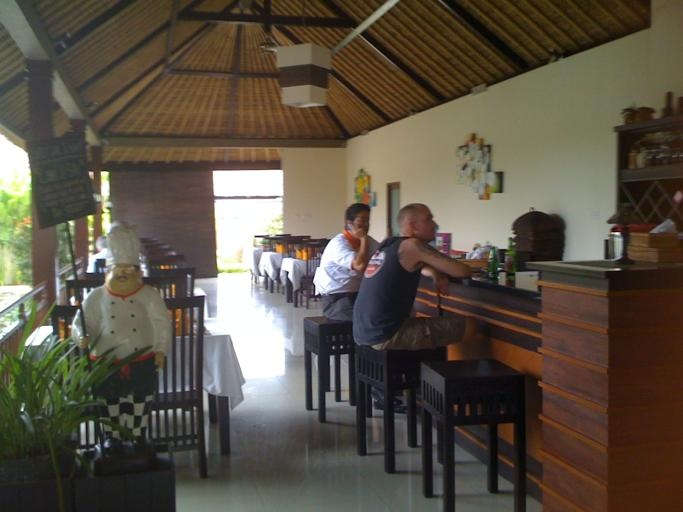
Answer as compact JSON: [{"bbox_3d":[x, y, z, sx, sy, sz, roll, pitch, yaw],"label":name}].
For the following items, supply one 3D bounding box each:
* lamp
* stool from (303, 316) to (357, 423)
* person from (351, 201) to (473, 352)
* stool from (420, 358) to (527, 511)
[{"bbox_3d":[-0.349,-1.724,5.391,0.496,0.606,0.370,-1,6,-3],"label":"lamp"},{"bbox_3d":[-0.026,0.823,4.289,0.435,0.678,0.418,0,-3,-26],"label":"stool"},{"bbox_3d":[0.408,0.123,3.607,0.751,0.880,0.626,0,2,-15],"label":"person"},{"bbox_3d":[0.699,0.944,3.035,0.538,0.742,0.481,0,6,6],"label":"stool"}]
